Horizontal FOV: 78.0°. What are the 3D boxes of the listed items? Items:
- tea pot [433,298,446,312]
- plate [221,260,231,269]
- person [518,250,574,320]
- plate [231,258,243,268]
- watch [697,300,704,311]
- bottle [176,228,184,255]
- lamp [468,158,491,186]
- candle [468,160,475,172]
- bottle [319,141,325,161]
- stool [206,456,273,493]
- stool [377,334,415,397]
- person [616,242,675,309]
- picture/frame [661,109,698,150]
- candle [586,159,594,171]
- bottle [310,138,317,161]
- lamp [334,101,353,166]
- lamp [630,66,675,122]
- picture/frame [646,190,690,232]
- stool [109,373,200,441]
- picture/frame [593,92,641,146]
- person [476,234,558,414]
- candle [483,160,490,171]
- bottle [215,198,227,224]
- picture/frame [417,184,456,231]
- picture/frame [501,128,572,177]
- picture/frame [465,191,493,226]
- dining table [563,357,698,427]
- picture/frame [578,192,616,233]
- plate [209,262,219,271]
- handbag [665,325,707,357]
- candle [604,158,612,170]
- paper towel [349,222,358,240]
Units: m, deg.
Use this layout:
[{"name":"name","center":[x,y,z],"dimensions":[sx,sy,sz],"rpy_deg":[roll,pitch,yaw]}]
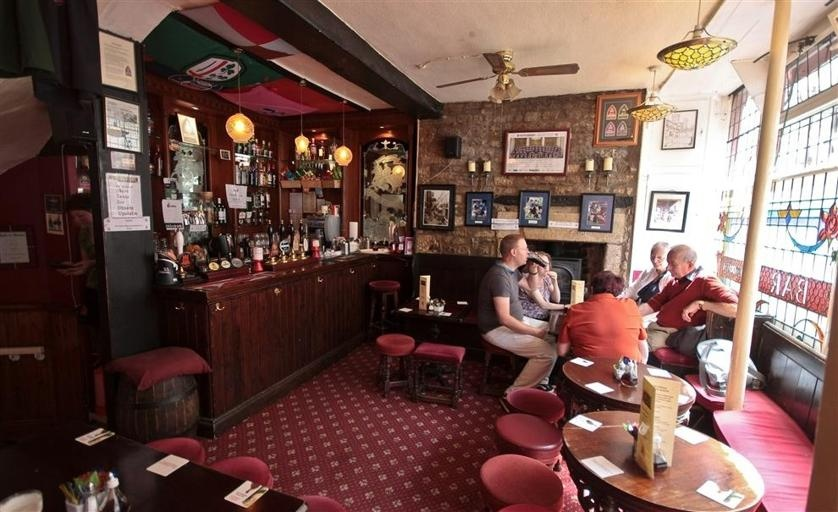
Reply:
[{"name":"tea pot","center":[0.291,0.700,7.246],"dimensions":[0.162,0.122,0.169],"rpy_deg":[0,-1,0]},{"name":"plate","center":[-2.251,0.098,6.037],"dimensions":[0.102,0.093,0.101],"rpy_deg":[-3,7,-21]},{"name":"person","center":[1.750,0.401,6.974],"dimensions":[0.822,0.831,0.575],"rpy_deg":[12,16,34]},{"name":"plate","center":[-2.182,0.079,6.225],"dimensions":[0.136,0.099,0.311],"rpy_deg":[-2,6,-18]},{"name":"watch","center":[3.283,0.577,5.993],"dimensions":[0.074,0.097,0.108],"rpy_deg":[7,-9,20]},{"name":"bottle","center":[-2.765,-0.156,5.937],"dimensions":[0.094,0.271,0.385],"rpy_deg":[-4,7,-26]},{"name":"lamp","center":[0.991,-1.362,8.240],"dimensions":[0.465,0.441,0.138],"rpy_deg":[1,5,14]},{"name":"candle","center":[0.850,-1.432,8.233],"dimensions":[0.134,0.196,0.136],"rpy_deg":[0,7,1]},{"name":"bottle","center":[-1.748,-1.917,9.378],"dimensions":[0.123,0.298,0.068],"rpy_deg":[-2,7,-12]},{"name":"stool","center":[-1.489,1.885,4.378],"dimensions":[0.353,0.304,0.352],"rpy_deg":[-4,-33,32]},{"name":"stool","center":[-0.283,1.335,6.699],"dimensions":[0.444,0.706,0.876],"rpy_deg":[-1,6,-2]},{"name":"person","center":[3.069,0.315,6.885],"dimensions":[0.796,0.935,0.654],"rpy_deg":[-10,15,-40]},{"name":"picture/frame","center":[3.854,-1.865,7.554],"dimensions":[0.625,0.802,0.030],"rpy_deg":[2,2,20]},{"name":"candle","center":[2.560,-1.356,7.698],"dimensions":[0.130,0.176,0.217],"rpy_deg":[3,7,24]},{"name":"bottle","center":[-1.884,-1.946,9.350],"dimensions":[0.124,0.393,0.169],"rpy_deg":[1,7,9]},{"name":"lamp","center":[-1.259,-2.020,8.661],"dimensions":[0.307,0.978,1.089],"rpy_deg":[-1,6,-8]},{"name":"lamp","center":[3.109,-2.194,6.900],"dimensions":[0.629,0.771,0.610],"rpy_deg":[3,9,9]},{"name":"picture/frame","center":[3.788,-0.694,7.765],"dimensions":[0.630,0.719,0.052],"rpy_deg":[3,5,27]},{"name":"stool","center":[-2.717,1.540,5.396],"dimensions":[0.729,0.659,0.705],"rpy_deg":[1,0,-15]},{"name":"picture/frame","center":[2.923,-2.014,7.517],"dimensions":[0.850,0.946,0.071],"rpy_deg":[1,5,20]},{"name":"person","center":[1.261,0.694,6.410],"dimensions":[0.690,1.888,0.925],"rpy_deg":[-4,8,-29]},{"name":"candle","center":[1.094,-1.420,8.169],"dimensions":[0.106,0.197,0.152],"rpy_deg":[2,7,20]},{"name":"bottle","center":[-3.292,-0.758,8.581],"dimensions":[0.210,0.436,0.116],"rpy_deg":[-4,8,-25]},{"name":"picture/frame","center":[0.325,-0.815,8.482],"dimensions":[0.802,0.878,0.071],"rpy_deg":[2,2,17]},{"name":"picture/frame","center":[1.868,-1.611,7.952],"dimensions":[0.818,0.580,0.056],"rpy_deg":[2,8,15]},{"name":"picture/frame","center":[0.994,-0.779,8.302],"dimensions":[0.581,0.663,0.046],"rpy_deg":[2,7,12]},{"name":"dining table","center":[1.979,1.283,5.052],"dimensions":[0.845,0.456,0.816],"rpy_deg":[-1,4,-19]},{"name":"picture/frame","center":[2.713,-0.663,7.764],"dimensions":[0.608,0.668,0.046],"rpy_deg":[3,5,19]},{"name":"plate","center":[-2.359,0.113,5.948],"dimensions":[0.098,0.093,0.118],"rpy_deg":[1,6,15]},{"name":"handbag","center":[3.137,0.983,6.011],"dimensions":[0.345,0.340,0.138],"rpy_deg":[16,-20,46]},{"name":"candle","center":[2.813,-1.360,7.619],"dimensions":[0.152,0.204,0.138],"rpy_deg":[1,7,8]},{"name":"paper towel","center":[-1.088,-0.430,8.608],"dimensions":[0.107,0.274,0.447],"rpy_deg":[-2,6,-11]}]
